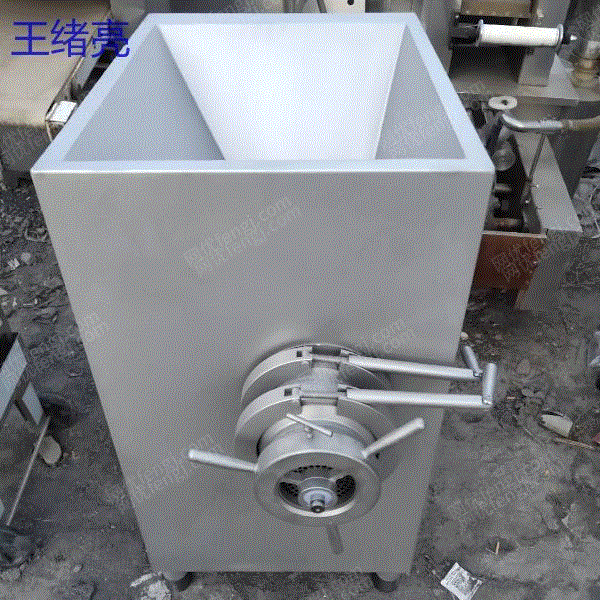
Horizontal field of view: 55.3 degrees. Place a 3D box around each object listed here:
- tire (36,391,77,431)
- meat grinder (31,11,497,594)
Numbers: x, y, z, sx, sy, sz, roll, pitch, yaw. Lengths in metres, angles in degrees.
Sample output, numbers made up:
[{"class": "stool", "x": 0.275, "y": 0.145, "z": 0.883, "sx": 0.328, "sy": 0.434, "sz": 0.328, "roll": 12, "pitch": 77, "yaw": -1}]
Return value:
[{"class": "tire", "x": -1.062, "y": 0.457, "z": 2.514, "sx": 0.118, "sy": 0.058, "sz": 0.167, "roll": -3, "pitch": 58, "yaw": -26}, {"class": "meat grinder", "x": -0.077, "y": 0.019, "z": 1.851, "sx": 0.904, "sy": 1.686, "sz": 1.293, "roll": 6, "pitch": 45, "yaw": 4}]
